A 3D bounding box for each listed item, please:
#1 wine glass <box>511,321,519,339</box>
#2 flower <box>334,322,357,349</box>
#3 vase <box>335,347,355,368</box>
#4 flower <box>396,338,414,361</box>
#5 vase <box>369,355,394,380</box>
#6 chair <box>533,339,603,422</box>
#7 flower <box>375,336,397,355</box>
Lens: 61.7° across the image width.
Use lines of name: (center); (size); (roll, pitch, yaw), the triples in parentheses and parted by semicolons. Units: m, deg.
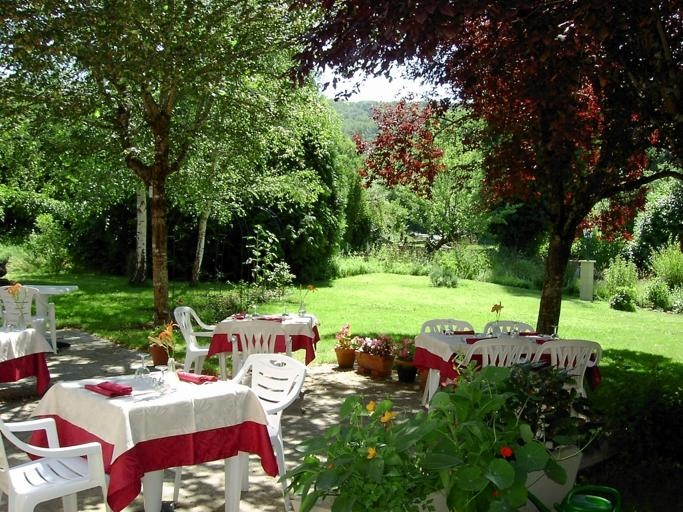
wine glass: (2.167, 0.934, 7.127); (0.083, 0.200, 0.119); (3, 8, 22)
flower: (0.056, 1.204, 8.616); (0.382, 0.449, 0.390); (1, -6, 4)
vase: (0.058, 1.490, 8.343); (0.261, 0.228, 0.280); (1, -7, 2)
flower: (0.936, 1.323, 7.943); (0.278, 0.329, 0.255); (-1, 1, -8)
vase: (0.562, 1.557, 8.029); (0.210, 0.255, 0.336); (1, -2, -21)
chair: (2.288, 1.161, 5.830); (0.590, 0.522, 1.089); (3, -2, 31)
flower: (0.641, 1.271, 8.105); (0.240, 0.249, 0.254); (3, 4, 2)
